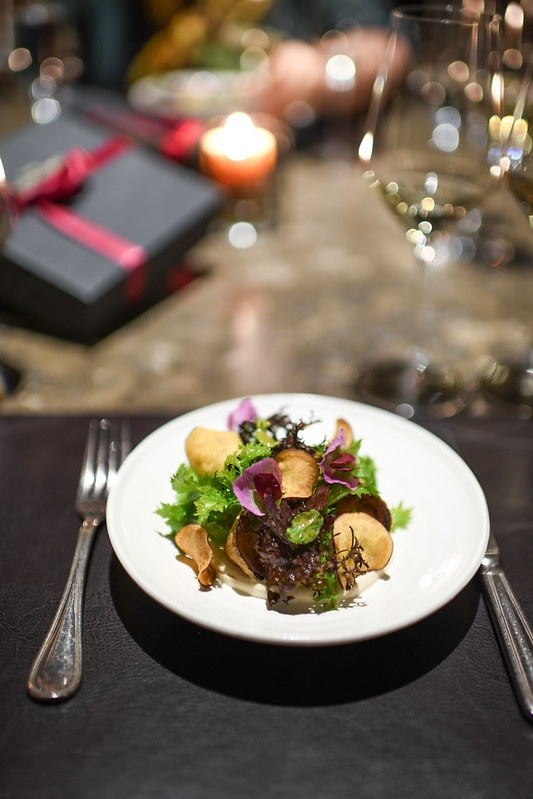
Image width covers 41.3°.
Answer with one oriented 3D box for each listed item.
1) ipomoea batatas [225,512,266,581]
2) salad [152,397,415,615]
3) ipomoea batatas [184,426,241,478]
[{"bbox_3d":[-0.013,0.076,0.367,0.025,0.010,0.027,23,51,-37],"label":"ipomoea batatas"},{"bbox_3d":[0.002,0.049,0.393,0.106,0.039,0.105,-26,46,-38],"label":"salad"},{"bbox_3d":[-0.033,0.031,0.435,0.030,0.015,0.029,-20,49,-31],"label":"ipomoea batatas"}]
